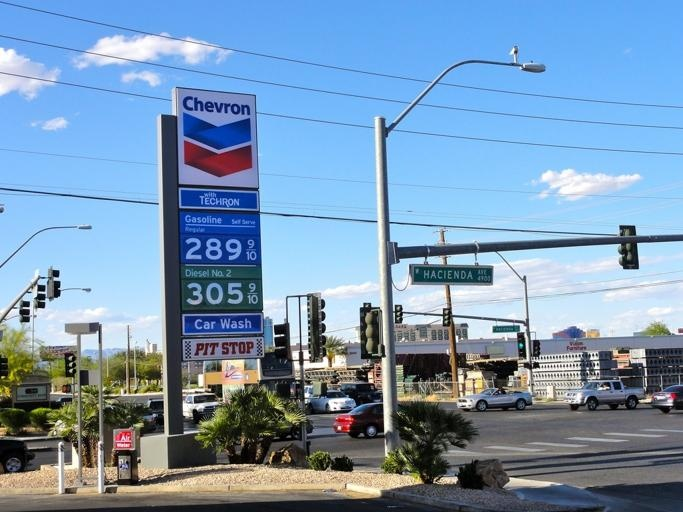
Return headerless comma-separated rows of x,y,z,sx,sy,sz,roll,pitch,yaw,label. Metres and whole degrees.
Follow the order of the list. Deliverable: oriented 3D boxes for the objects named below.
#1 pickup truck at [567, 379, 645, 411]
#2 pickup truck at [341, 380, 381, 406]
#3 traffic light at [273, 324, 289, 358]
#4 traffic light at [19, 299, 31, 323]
17.358,9.103,54.637,5.546,1.929,1.380,0,-12,-18,pickup truck
1.763,10.276,62.682,1.418,1.159,2.388,2,-8,-36,pickup truck
-2.227,3.083,30.494,0.558,1.222,0.906,-3,-11,-7,traffic light
-16.874,2.936,44.045,0.464,1.132,0.717,2,-13,-29,traffic light
